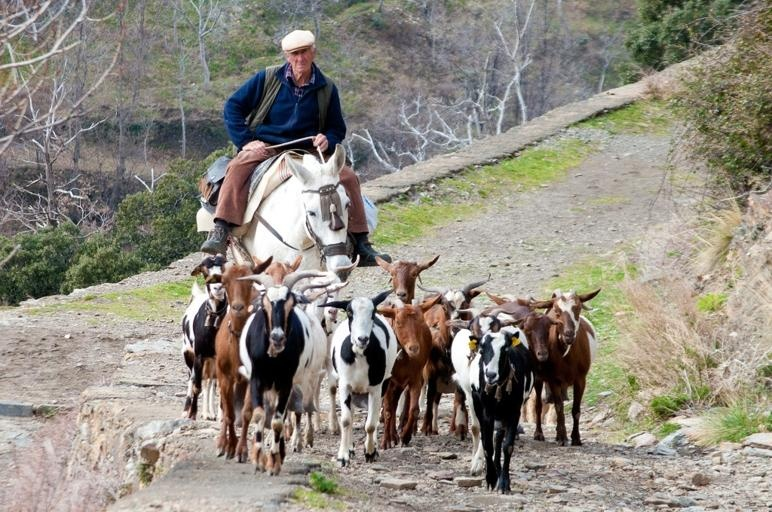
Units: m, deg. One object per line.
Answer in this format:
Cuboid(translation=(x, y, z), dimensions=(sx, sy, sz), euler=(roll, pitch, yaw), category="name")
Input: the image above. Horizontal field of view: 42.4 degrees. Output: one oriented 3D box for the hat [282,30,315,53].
Cuboid(translation=(-1.608, -3.954, 18.340), dimensions=(0.563, 0.331, 0.402), euler=(-1, -1, -8), category="hat")
